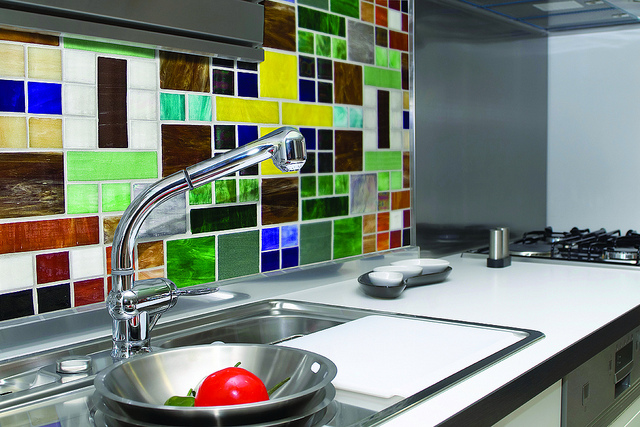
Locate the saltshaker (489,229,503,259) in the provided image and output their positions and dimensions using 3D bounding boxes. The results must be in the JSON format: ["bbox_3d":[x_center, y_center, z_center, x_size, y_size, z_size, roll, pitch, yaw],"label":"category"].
[{"bbox_3d":[0.698,0.125,1.843,0.050,0.122,0.048,-1,6,18],"label":"saltshaker"}]
